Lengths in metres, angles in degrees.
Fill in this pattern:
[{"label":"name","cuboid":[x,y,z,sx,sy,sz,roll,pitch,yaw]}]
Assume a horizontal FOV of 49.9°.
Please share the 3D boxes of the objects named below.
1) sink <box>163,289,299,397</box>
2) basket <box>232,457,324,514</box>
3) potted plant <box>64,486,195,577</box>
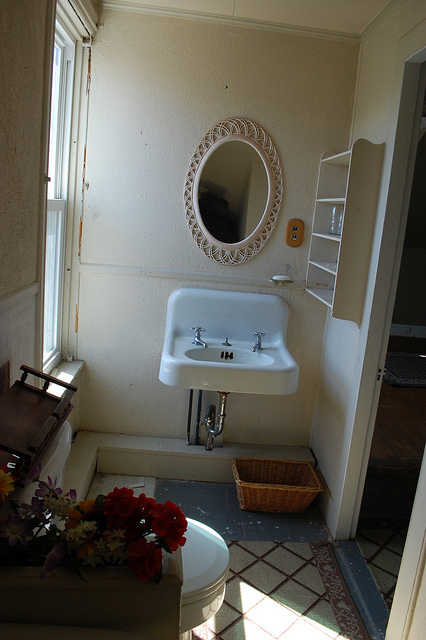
[{"label":"sink","cuboid":[0.084,0.101,2.295,0.632,0.422,0.469,4,11,-1]},{"label":"basket","cuboid":[0.327,0.849,2.373,0.358,0.168,0.263,0,20,-3]},{"label":"potted plant","cuboid":[-0.138,0.400,0.836,0.137,0.139,0.203,-1,-19,24]}]
